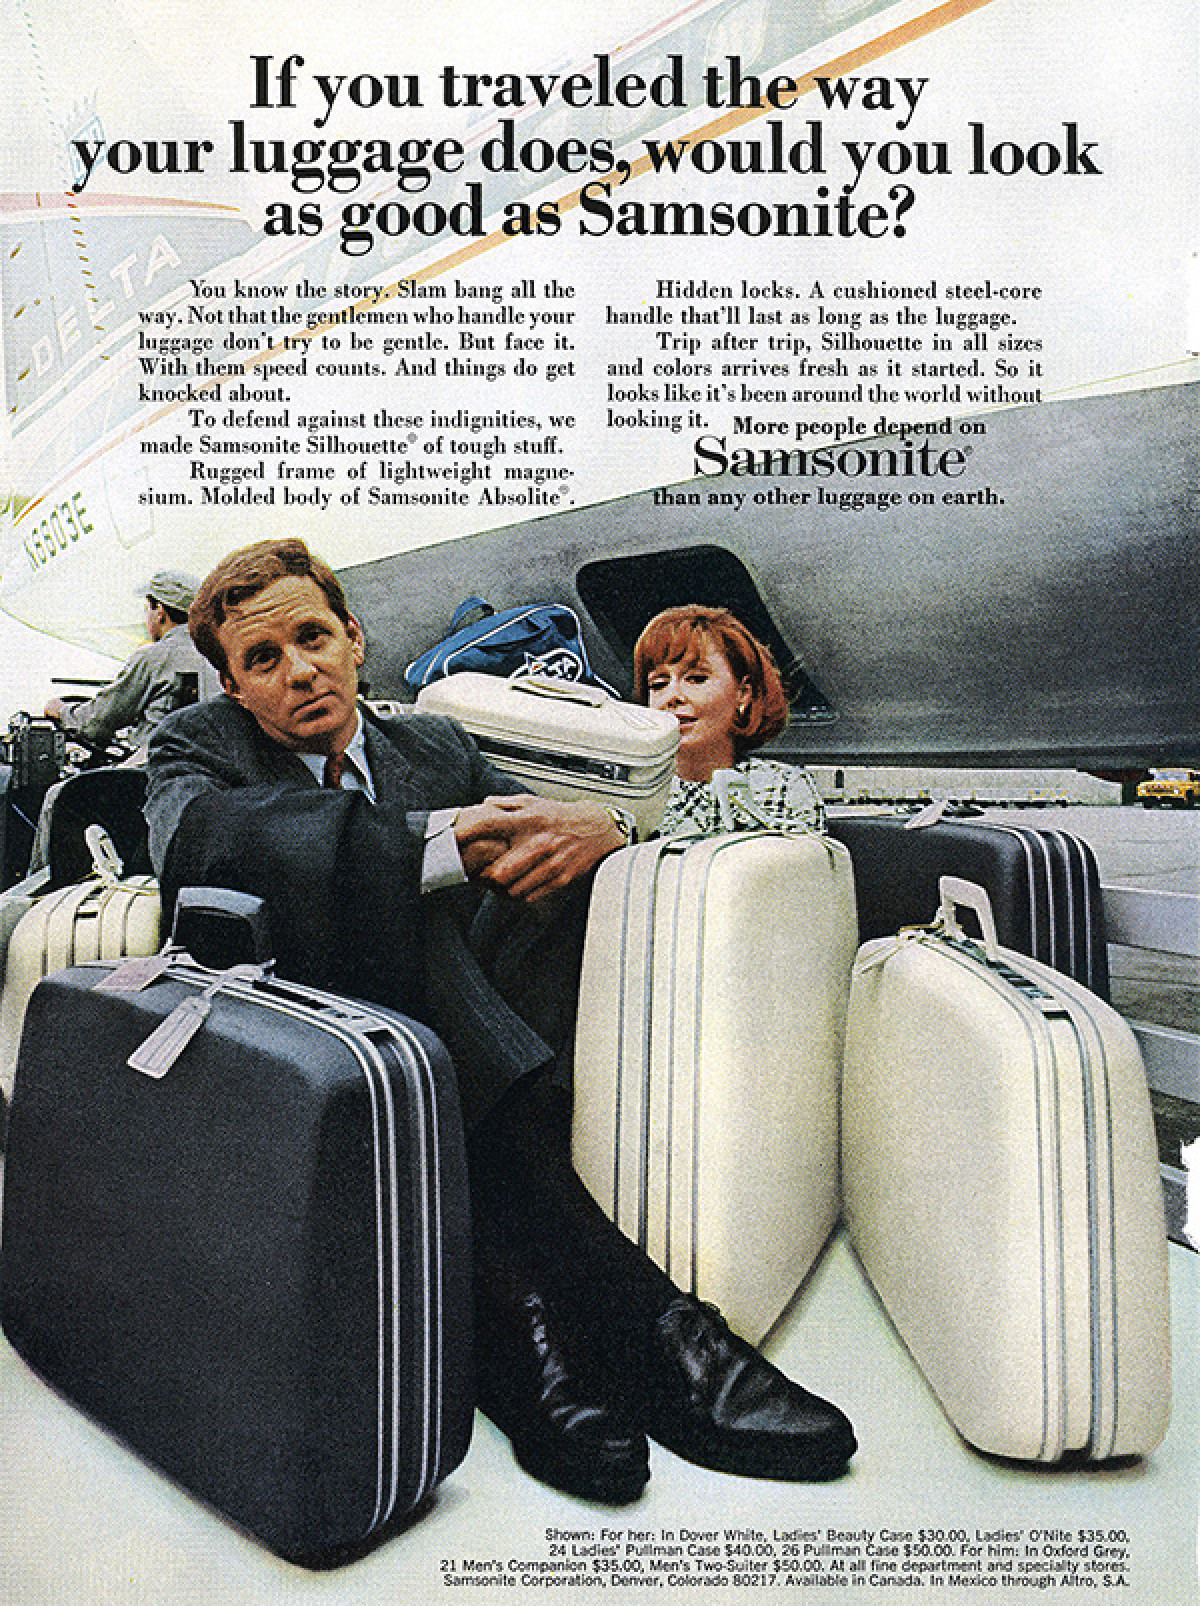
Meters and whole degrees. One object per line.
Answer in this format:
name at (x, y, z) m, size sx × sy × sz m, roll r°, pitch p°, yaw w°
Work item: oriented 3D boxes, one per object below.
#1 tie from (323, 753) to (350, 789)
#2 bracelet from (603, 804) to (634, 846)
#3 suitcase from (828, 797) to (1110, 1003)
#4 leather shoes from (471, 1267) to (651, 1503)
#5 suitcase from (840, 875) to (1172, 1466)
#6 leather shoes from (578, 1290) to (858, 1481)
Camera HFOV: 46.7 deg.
tie at (-0.286, -0.033, 1.490) m, size 0.025 × 0.035 × 0.034 m, roll 1°, pitch 21°, yaw -2°
bracelet at (0.019, 0.026, 1.488) m, size 0.025 × 0.045 × 0.032 m, roll -22°, pitch -21°, yaw 38°
suitcase at (0.398, 0.102, 1.461) m, size 0.212 × 0.185 × 0.072 m, roll -3°, pitch -4°, yaw 17°
leather shoes at (-0.069, 0.548, 1.427) m, size 0.100 × 0.115 × 0.292 m, roll -19°, pitch 38°, yaw -31°
suitcase at (0.390, 0.367, 1.389) m, size 0.194 × 0.556 × 0.318 m, roll -7°, pitch 8°, yaw -19°
leather shoes at (0.088, 0.555, 1.407) m, size 0.315 × 0.121 × 0.113 m, roll 9°, pitch 24°, yaw 31°
